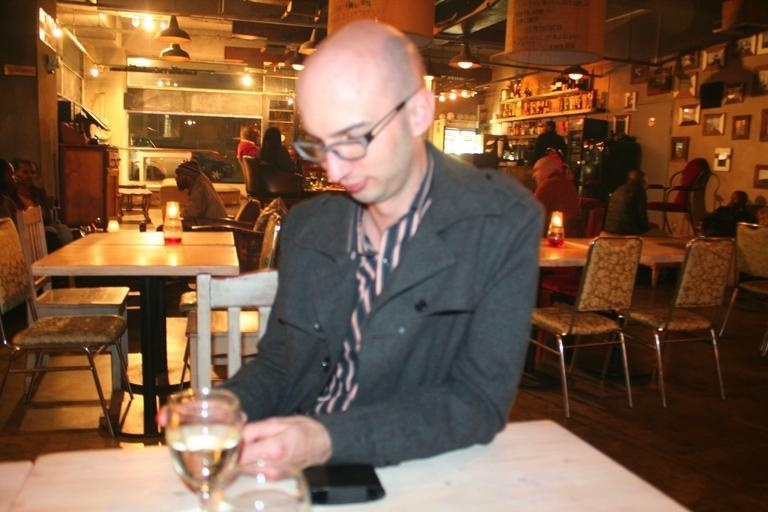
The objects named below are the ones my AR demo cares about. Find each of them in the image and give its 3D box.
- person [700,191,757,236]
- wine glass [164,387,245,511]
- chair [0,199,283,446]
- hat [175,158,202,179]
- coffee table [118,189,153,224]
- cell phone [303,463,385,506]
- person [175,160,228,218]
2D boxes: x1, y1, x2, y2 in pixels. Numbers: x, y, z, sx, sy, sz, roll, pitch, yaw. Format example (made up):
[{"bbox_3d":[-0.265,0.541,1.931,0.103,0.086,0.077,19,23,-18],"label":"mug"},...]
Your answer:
[{"bbox_3d":[4.862,-0.596,8.604,0.706,0.686,0.371,15,-10,47],"label":"person"},{"bbox_3d":[-0.552,0.575,1.885,0.230,0.309,0.184,-4,15,-20],"label":"wine glass"},{"bbox_3d":[-1.485,0.767,4.616,2.017,1.608,1.491,2,28,-10],"label":"chair"},{"bbox_3d":[-2.464,-1.103,7.682,0.256,0.232,0.352,0,10,-16],"label":"hat"},{"bbox_3d":[-5.156,-1.026,12.689,0.616,0.320,1.376,-2,10,-15],"label":"coffee table"},{"bbox_3d":[-0.127,0.726,1.951,0.251,0.075,0.122,0,14,-7],"label":"cell phone"},{"bbox_3d":[-2.411,-0.757,7.675,0.654,0.812,0.658,-13,15,-28],"label":"person"}]
